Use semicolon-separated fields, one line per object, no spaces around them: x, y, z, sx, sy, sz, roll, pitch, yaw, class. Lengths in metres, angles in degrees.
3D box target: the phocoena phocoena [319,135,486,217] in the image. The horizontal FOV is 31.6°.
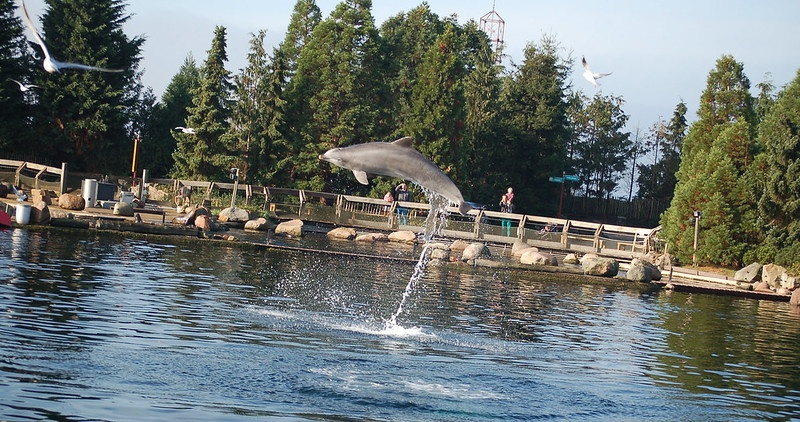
-0.170;-2.737;88.207;10.263;3.659;2.778;9;15;14;phocoena phocoena
